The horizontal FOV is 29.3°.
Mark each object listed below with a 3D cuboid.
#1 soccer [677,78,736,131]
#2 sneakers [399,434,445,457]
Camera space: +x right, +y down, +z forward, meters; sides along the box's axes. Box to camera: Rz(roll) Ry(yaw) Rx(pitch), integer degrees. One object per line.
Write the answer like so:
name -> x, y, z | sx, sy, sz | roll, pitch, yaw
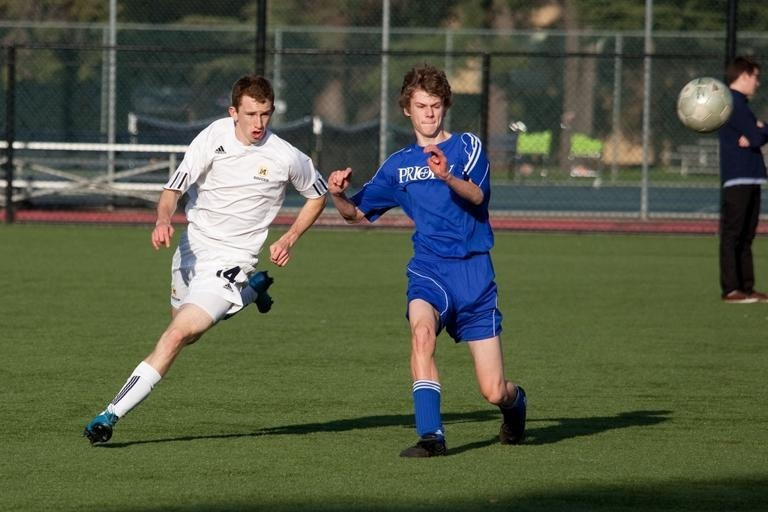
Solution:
soccer -> 4.171, -1.983, 18.980 | 0.720, 0.631, 0.686 | -3, 3, 16
sneakers -> 0.363, 1.814, 13.947 | 0.404, 0.153, 0.219 | -5, -13, 35
